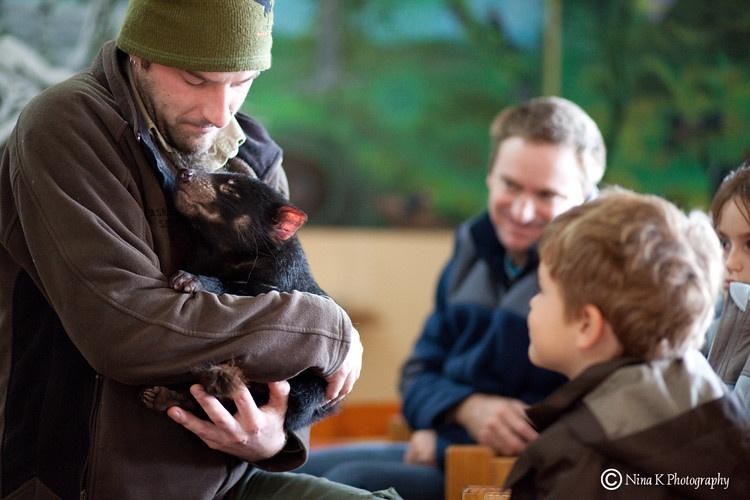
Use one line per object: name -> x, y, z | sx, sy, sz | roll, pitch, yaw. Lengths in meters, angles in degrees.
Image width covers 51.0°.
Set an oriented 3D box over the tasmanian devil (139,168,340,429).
tasmanian devil -> -0.599, 0.106, 2.923 | 0.655, 0.916, 0.851 | 10, 15, 40
